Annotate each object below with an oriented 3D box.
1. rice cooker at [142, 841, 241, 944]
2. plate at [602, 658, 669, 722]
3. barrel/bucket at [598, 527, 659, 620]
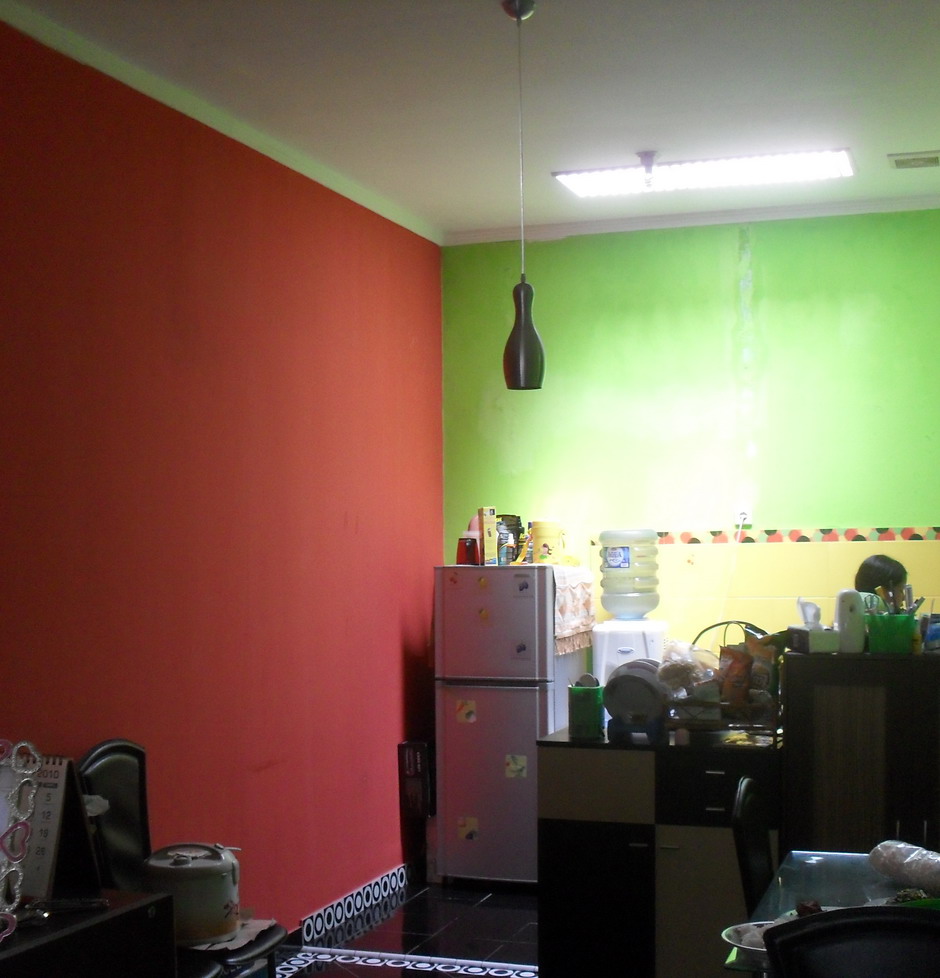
[{"bbox_3d":[-0.704,1.057,2.469,0.183,0.235,0.183,-1,-11,-28],"label":"rice cooker"},{"bbox_3d":[0.586,0.711,3.362,0.147,0.206,0.137,2,-7,16],"label":"plate"},{"bbox_3d":[0.893,0.484,5.333,0.245,0.599,0.242,1,2,0],"label":"barrel/bucket"}]
